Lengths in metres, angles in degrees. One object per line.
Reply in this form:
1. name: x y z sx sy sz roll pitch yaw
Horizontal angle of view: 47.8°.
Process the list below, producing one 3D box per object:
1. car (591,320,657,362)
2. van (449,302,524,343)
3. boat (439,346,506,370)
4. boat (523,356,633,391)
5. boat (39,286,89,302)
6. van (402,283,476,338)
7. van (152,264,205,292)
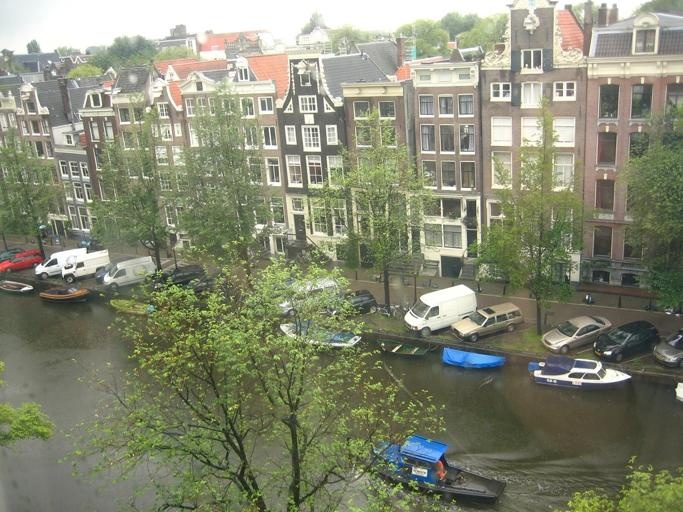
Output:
1. car: 23.205 7.395 62.461 5.316 2.027 2.431 -13 45 -2
2. van: 12.727 5.593 66.900 5.898 2.169 2.778 -13 29 -13
3. boat: 10.706 8.570 63.264 3.885 0.885 2.071 -1 7 13
4. boat: 18.377 9.148 60.396 7.558 2.338 2.755 2 32 13
5. boat: -28.861 4.029 80.387 3.874 1.206 2.185 5 14 9
6. van: 8.781 5.212 68.952 6.138 3.044 3.458 -16 23 -11
7. van: -15.560 2.224 74.296 4.427 1.489 1.997 -7 16 -27
